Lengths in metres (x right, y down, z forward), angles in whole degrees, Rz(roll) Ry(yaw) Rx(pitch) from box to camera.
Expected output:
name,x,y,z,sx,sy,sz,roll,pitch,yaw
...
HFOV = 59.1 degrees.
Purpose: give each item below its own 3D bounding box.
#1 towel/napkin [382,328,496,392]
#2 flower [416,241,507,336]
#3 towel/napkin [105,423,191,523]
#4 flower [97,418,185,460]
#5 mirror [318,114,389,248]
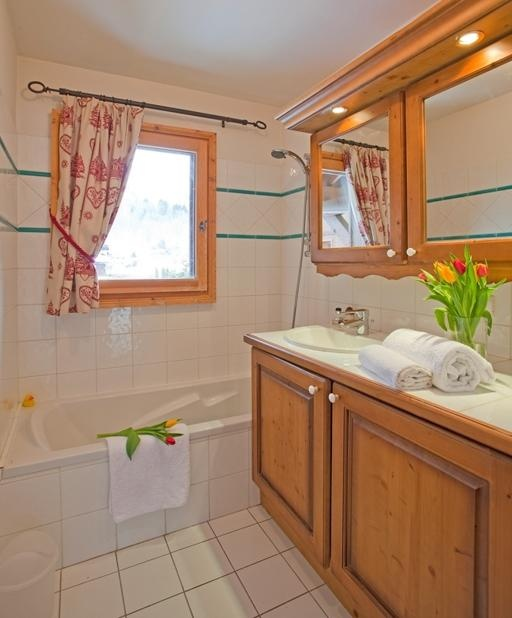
name,x,y,z,sx,sy,sz,roll,pitch,yaw
towel/napkin,0.495,0.139,1.257,0.156,0.077,0.203,-7,11,-16
flower,0.580,-0.059,1.378,0.266,0.282,0.242,0,3,-19
towel/napkin,-0.456,0.698,1.942,0.356,0.382,0.158,-4,8,-22
flower,-0.469,0.528,1.924,0.218,0.074,0.172,5,-3,-30
mirror,0.389,-0.449,1.814,0.032,0.491,0.659,-11,13,-14
